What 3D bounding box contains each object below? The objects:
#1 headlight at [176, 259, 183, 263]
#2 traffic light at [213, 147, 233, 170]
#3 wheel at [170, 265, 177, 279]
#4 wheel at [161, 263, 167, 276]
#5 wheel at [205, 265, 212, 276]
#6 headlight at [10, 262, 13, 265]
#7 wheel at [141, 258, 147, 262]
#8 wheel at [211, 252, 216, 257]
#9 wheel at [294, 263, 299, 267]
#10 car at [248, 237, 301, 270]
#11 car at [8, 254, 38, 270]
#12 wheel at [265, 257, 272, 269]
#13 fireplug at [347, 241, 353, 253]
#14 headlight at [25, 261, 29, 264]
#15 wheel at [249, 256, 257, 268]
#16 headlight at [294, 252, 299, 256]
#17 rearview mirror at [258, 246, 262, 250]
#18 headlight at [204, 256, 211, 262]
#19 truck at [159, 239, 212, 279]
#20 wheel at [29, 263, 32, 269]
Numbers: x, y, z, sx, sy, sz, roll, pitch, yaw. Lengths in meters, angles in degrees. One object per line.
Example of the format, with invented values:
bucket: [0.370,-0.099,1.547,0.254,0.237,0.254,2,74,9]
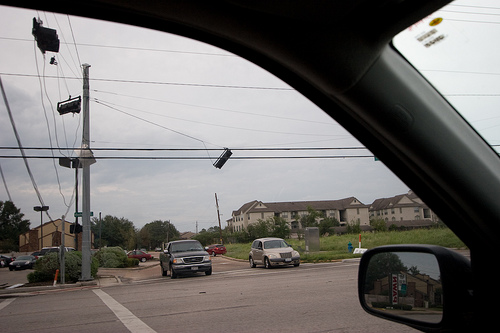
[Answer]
headlight: [-3.461,4.542,19.028,0.159,0.042,0.172,-10,19,-30]
traffic light: [-1.038,-0.333,14.723,0.168,0.728,0.723,37,-3,-10]
wheel: [-3.731,5.099,19.175,0.281,0.651,0.419,-2,-10,-10]
wheel: [-4.781,5.702,21.732,0.223,0.592,0.652,4,-12,-38]
wheel: [-2.126,5.211,19.818,0.224,0.603,0.589,2,-12,-23]
headlight: [-21.592,8.775,35.575,0.337,0.143,0.434,1,-3,-15]
wheel: [-12.740,11.278,47.112,0.687,0.715,0.232,-2,-6,-9]
wheel: [-4.598,10.963,49.233,0.604,0.626,0.219,6,-13,-15]
wheel: [2.541,5.371,21.613,0.244,0.092,0.224,-3,-10,-1]
car: [1.224,4.888,22.399,1.556,1.275,2.951,2,-15,-18]
car: [-21.033,8.848,36.390,1.970,1.192,2.391,3,-12,-31]
wheel: [0.979,5.204,21.356,0.266,0.731,0.715,2,-6,-12]
fireplug: [7.201,5.786,28.177,0.397,0.975,0.407,-3,-3,20]
headlight: [-20.294,8.719,35.752,0.164,0.238,0.087,15,-12,-18]
wheel: [0.157,5.715,23.720,0.299,0.667,0.973,-3,-10,-4]
headlight: [2.500,4.765,21.433,0.239,0.080,0.239,-4,6,20]
rearview mirror: [0.572,4.671,22.500,0.102,0.134,0.520,-2,-10,-9]
headlight: [-2.158,4.589,19.581,0.261,0.149,0.376,1,-12,-10]
truck: [-3.411,4.685,20.167,1.875,1.849,2.657,4,-13,-38]
wheel: [-20.203,9.109,36.210,0.163,0.525,0.401,-2,-10,-6]
